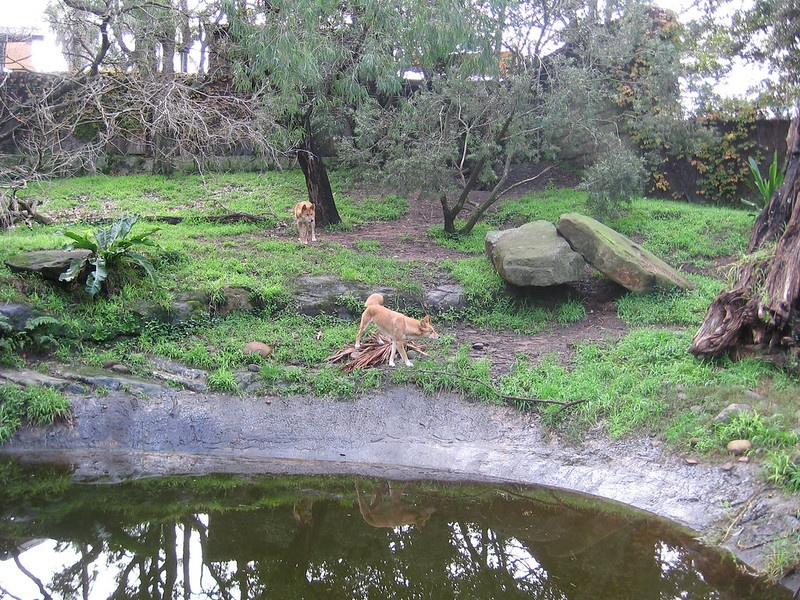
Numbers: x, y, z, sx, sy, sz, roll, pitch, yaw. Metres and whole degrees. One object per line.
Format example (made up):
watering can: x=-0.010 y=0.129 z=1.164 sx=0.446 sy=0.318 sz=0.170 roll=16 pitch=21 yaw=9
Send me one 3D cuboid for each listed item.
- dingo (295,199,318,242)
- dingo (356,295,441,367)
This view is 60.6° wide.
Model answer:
dingo: x=-2.020 y=-1.681 z=14.716 sx=0.424 sy=0.867 sz=1.113 roll=-1 pitch=16 yaw=-10
dingo: x=-0.123 y=0.491 z=10.909 sx=1.398 sy=0.960 sz=0.425 roll=21 pitch=21 yaw=30
